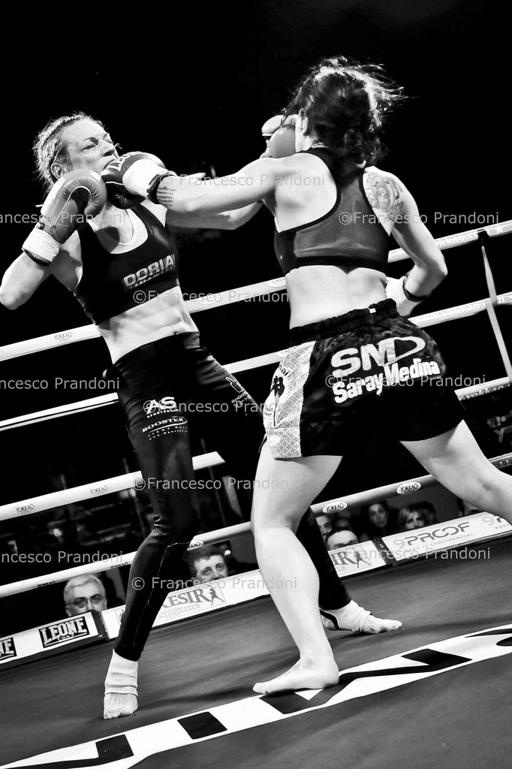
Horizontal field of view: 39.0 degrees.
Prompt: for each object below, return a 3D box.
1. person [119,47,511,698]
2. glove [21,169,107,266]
[{"bbox_3d":[0.139,-0.093,1.457,0.779,1.159,0.390,-20,4,-14],"label":"person"},{"bbox_3d":[-0.456,-0.415,1.815,0.246,0.188,0.091,-54,3,10],"label":"glove"}]
